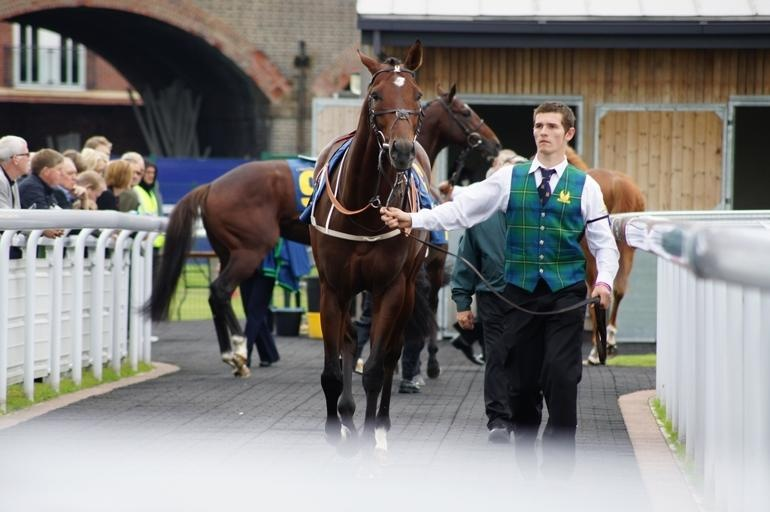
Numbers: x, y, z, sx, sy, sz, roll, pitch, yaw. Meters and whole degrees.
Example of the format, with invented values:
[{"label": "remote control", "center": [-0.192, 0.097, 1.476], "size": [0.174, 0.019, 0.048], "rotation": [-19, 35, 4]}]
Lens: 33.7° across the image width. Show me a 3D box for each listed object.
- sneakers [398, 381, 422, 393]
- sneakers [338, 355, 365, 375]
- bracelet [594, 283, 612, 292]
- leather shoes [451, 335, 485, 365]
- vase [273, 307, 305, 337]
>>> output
[{"label": "sneakers", "center": [0.225, 1.278, 12.512], "size": [0.202, 0.100, 0.093], "rotation": [0, 2, -37]}, {"label": "sneakers", "center": [-0.312, 1.018, 12.143], "size": [0.176, 0.241, 0.554], "rotation": [-1, 1, 7]}, {"label": "bracelet", "center": [1.656, 0.217, 9.716], "size": [0.126, 0.072, 0.163], "rotation": [2, 8, 10]}, {"label": "leather shoes", "center": [0.919, 0.947, 13.512], "size": [0.196, 0.270, 0.607], "rotation": [-7, -24, 28]}, {"label": "vase", "center": [-1.235, 0.813, 16.192], "size": [0.335, 0.272, 0.355], "rotation": [3, 2, 8]}]
